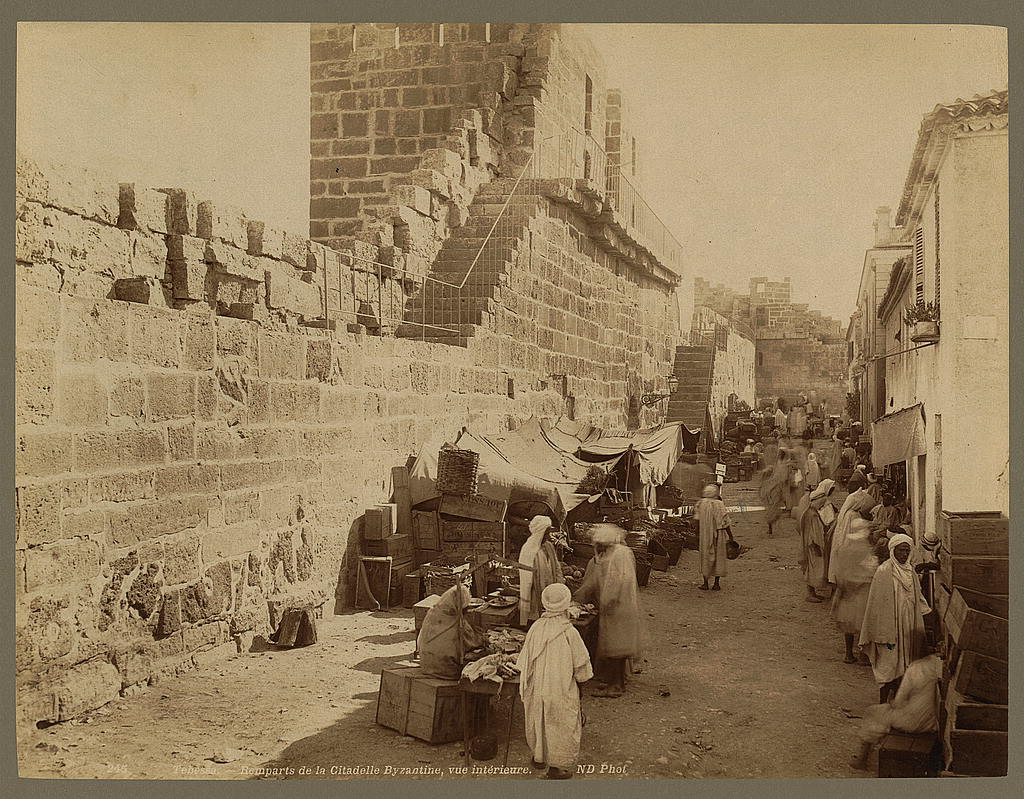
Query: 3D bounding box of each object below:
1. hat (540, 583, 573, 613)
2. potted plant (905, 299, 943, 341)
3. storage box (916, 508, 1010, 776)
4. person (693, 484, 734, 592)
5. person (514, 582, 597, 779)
[{"bbox_3d":[0.339,1.548,8.926,0.183,0.191,0.232,16,31,32],"label":"hat"},{"bbox_3d":[4.152,-0.796,11.474,0.164,0.454,0.646,1,-5,9],"label":"potted plant"},{"bbox_3d":[3.895,2.045,9.633,0.527,2.101,1.379,0,-5,24],"label":"storage box"},{"bbox_3d":[2.439,1.653,13.813,0.381,1.253,0.537,1,-4,10],"label":"person"},{"bbox_3d":[0.317,2.117,8.818,0.539,1.375,0.193,2,-4,-1],"label":"person"}]
